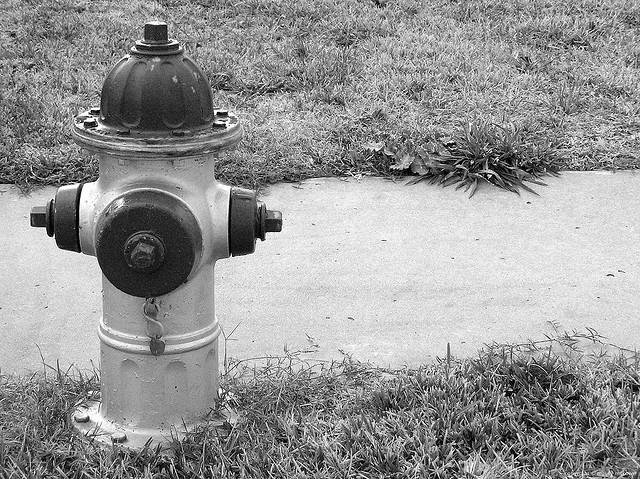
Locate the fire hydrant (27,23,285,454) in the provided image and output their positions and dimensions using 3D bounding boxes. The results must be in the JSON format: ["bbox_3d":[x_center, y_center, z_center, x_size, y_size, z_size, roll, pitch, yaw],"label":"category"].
[{"bbox_3d":[-0.839,0.005,5.587,1.093,2.172,0.485,-4,14,-13],"label":"fire hydrant"}]
